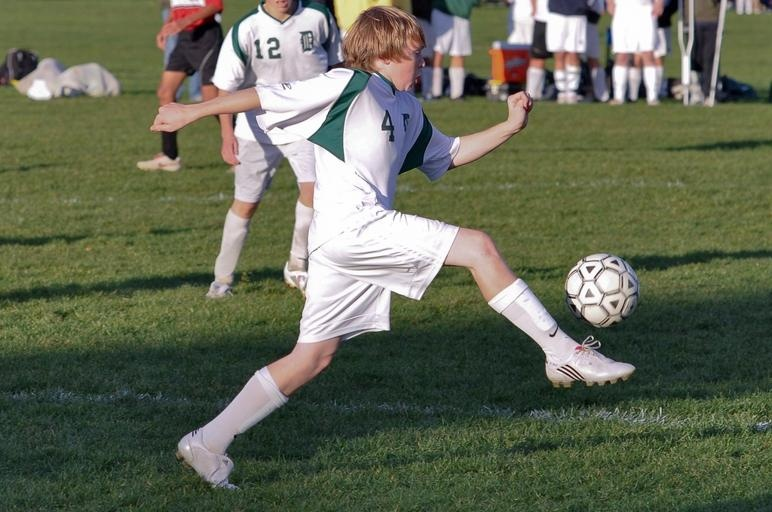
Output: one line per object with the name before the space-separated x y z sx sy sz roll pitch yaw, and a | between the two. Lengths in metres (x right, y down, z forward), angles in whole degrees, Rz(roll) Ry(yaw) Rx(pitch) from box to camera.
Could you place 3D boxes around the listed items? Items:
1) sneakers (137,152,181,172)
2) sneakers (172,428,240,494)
sneakers | -2.272 -0.931 14.646 0.445 0.193 0.158 2 17 -10
sneakers | -1.220 1.386 9.984 0.608 0.265 0.215 40 0 -7
